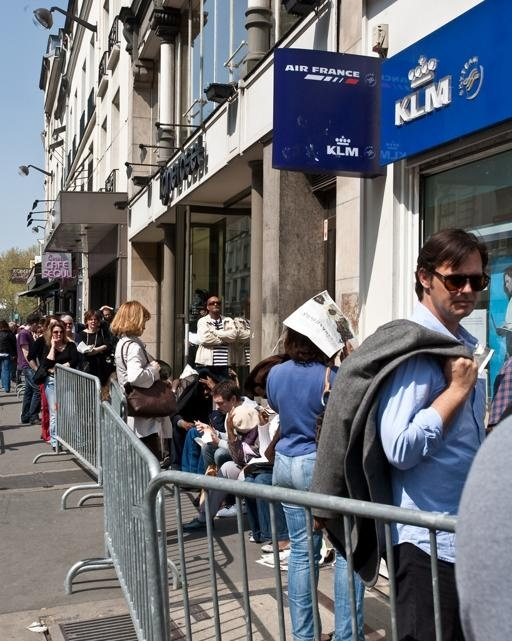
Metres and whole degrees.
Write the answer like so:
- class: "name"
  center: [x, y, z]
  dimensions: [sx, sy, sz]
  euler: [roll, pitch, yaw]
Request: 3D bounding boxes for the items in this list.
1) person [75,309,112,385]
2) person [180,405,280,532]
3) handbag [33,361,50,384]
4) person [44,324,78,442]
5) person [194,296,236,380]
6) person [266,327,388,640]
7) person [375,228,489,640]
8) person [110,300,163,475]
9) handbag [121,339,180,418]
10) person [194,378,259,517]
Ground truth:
- class: "person"
  center: [-2.110, 0.330, 11.169]
  dimensions: [0.450, 0.626, 2.231]
  euler: [1, 0, -11]
- class: "person"
  center: [-0.154, 0.939, 5.693]
  dimensions: [0.613, 0.972, 0.683]
  euler: [2, 10, 5]
- class: "handbag"
  center: [-2.435, 0.605, 9.693]
  dimensions: [0.173, 0.284, 0.074]
  euler: [-1, -8, 40]
- class: "person"
  center: [-2.286, 0.765, 9.839]
  dimensions: [0.415, 1.471, 0.414]
  euler: [5, 9, 27]
- class: "person"
  center: [-0.429, 0.156, 9.131]
  dimensions: [0.452, 0.862, 1.409]
  euler: [1, 0, -4]
- class: "person"
  center: [0.235, 0.709, 3.604]
  dimensions: [0.364, 1.422, 0.968]
  euler: [1, 0, -3]
- class: "person"
  center: [0.471, 0.257, 2.314]
  dimensions: [0.281, 1.072, 0.683]
  euler: [0, 0, 16]
- class: "person"
  center: [-0.853, 0.613, 6.554]
  dimensions: [0.345, 1.540, 0.537]
  euler: [-6, 14, -6]
- class: "handbag"
  center: [-0.875, 0.476, 6.550]
  dimensions: [0.459, 0.710, 0.290]
  euler: [3, -29, -44]
- class: "person"
  center: [-0.207, 0.927, 6.161]
  dimensions: [0.507, 1.062, 0.376]
  euler: [-10, 18, -43]
